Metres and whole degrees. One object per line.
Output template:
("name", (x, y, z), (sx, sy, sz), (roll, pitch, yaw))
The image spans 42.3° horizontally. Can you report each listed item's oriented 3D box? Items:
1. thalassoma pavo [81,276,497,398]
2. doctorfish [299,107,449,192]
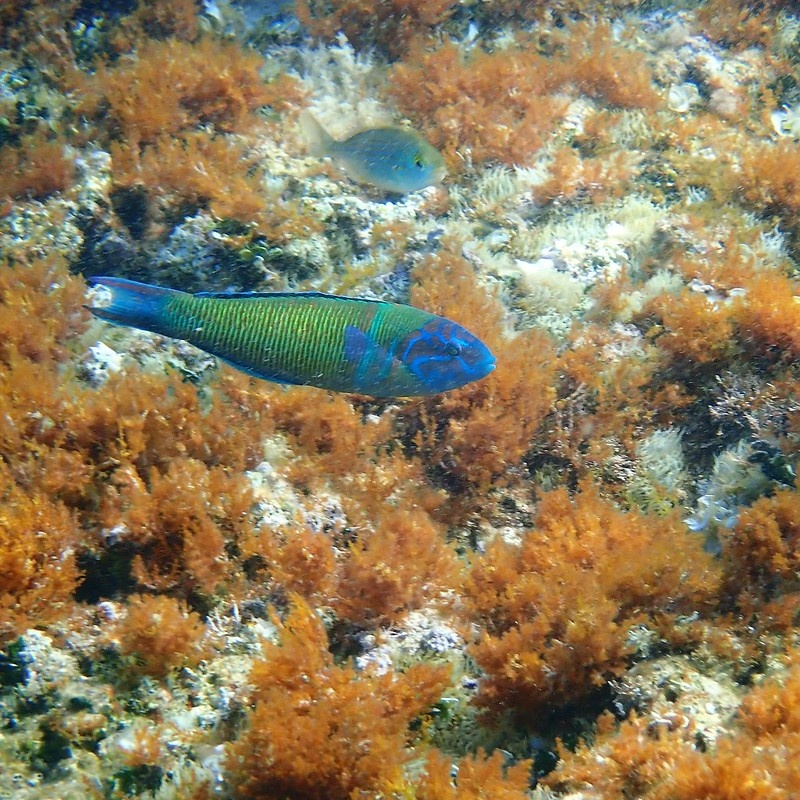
("thalassoma pavo", (-0.572, -0.360, 5.954), (2.367, 0.547, 0.608), (10, 16, -14))
("doctorfish", (-0.202, -1.809, 7.691), (1.153, 0.461, 0.218), (16, 34, 17))
